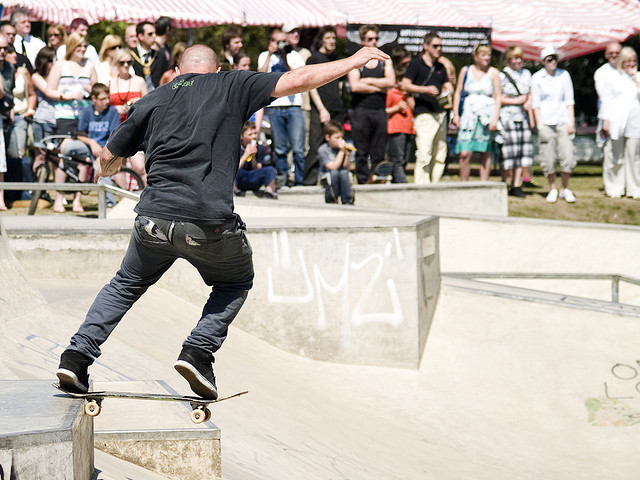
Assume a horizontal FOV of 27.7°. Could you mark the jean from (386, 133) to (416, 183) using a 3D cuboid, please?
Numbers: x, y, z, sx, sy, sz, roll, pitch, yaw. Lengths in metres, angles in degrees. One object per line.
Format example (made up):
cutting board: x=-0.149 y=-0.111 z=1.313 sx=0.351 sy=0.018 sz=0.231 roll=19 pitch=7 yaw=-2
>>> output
jean: x=1.162 y=-1.165 z=18.774 sx=0.430 sy=0.745 sz=0.588 roll=0 pitch=7 yaw=4

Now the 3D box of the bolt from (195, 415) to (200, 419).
bolt: x=-1.197 y=1.703 z=12.498 sx=0.038 sy=0.041 sz=0.010 roll=1 pitch=-1 yaw=-7

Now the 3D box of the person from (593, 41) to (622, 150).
person: x=4.281 y=-2.067 z=19.494 sx=0.294 sy=1.690 sz=0.375 roll=-13 pitch=23 yaw=-28

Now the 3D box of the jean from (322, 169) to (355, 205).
jean: x=0.218 y=-0.770 z=18.286 sx=0.483 sy=0.341 sz=0.623 roll=15 pitch=-18 yaw=-17
